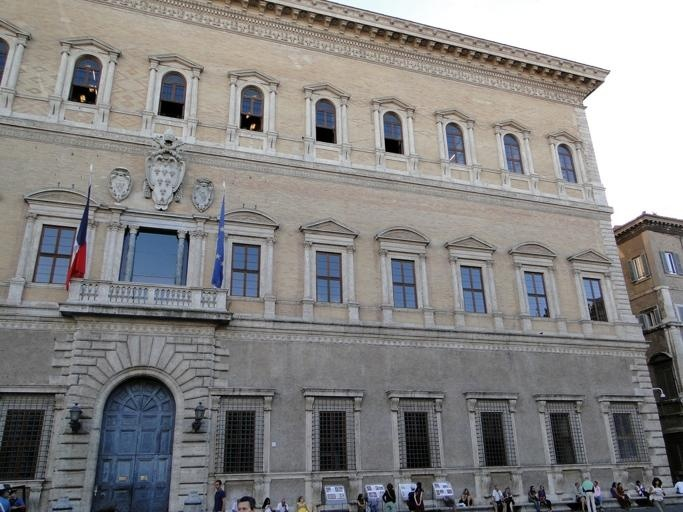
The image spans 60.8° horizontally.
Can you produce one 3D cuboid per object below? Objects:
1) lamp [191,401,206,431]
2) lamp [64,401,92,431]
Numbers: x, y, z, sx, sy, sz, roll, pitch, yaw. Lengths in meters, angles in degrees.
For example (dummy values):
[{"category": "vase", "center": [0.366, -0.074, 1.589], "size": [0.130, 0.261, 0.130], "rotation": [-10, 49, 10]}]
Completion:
[{"category": "lamp", "center": [-4.805, 5.457, 19.728], "size": [0.439, 1.005, 0.497], "rotation": [2, -28, -5]}, {"category": "lamp", "center": [-8.562, 5.221, 18.804], "size": [0.637, 0.993, 0.713], "rotation": [-4, -27, 5]}]
